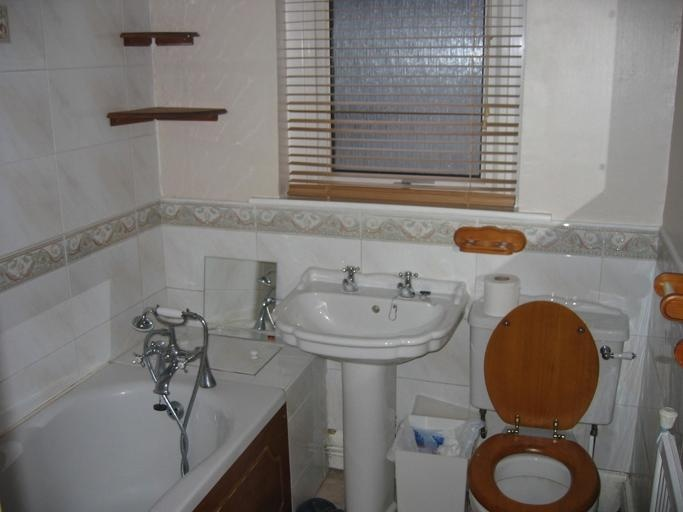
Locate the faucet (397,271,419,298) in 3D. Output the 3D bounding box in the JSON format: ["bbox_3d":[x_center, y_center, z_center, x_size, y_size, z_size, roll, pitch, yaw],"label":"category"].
[{"bbox_3d":[0.300,0.138,2.473,0.081,0.118,0.113,0,1,17],"label":"faucet"}]

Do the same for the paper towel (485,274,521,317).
[{"bbox_3d":[0.698,0.172,2.397,0.149,0.184,0.162,-4,16,-3],"label":"paper towel"}]

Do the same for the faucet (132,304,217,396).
[{"bbox_3d":[-0.759,0.428,2.362,0.286,0.389,0.230,5,22,5],"label":"faucet"}]

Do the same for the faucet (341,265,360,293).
[{"bbox_3d":[0.044,0.108,2.554,0.095,0.160,0.083,0,11,1],"label":"faucet"}]

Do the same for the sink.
[{"bbox_3d":[0.124,0.261,2.366,0.841,0.261,0.597,8,17,14],"label":"sink"}]

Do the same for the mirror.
[{"bbox_3d":[-0.516,0.192,2.764,0.349,0.390,0.026,3,9,16],"label":"mirror"}]
